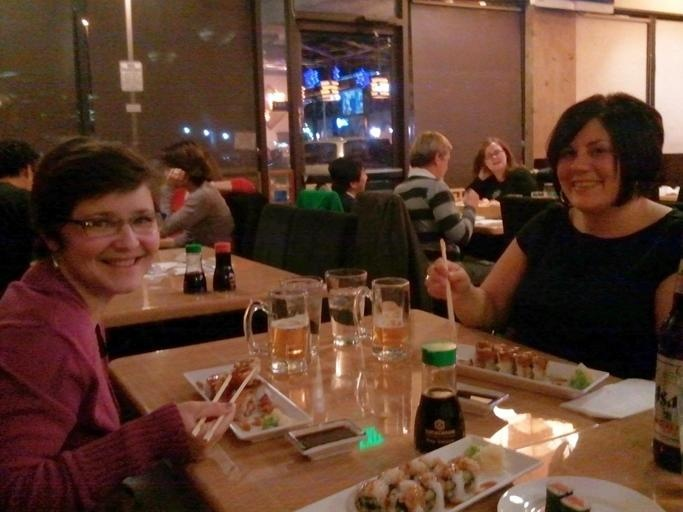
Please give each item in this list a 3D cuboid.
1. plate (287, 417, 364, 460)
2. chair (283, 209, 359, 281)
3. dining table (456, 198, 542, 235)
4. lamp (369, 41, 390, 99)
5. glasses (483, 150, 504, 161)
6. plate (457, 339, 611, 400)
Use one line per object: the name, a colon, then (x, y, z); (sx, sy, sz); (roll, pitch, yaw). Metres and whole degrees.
plate: (-0.028, 0.342, 1.048); (0.094, 0.023, 0.067); (-3, 6, -12)
chair: (-0.099, -0.057, 2.913); (0.215, 0.374, 0.384); (13, -6, -43)
dining table: (0.986, -0.246, 3.563); (0.261, 0.181, 0.436); (-6, 12, -11)
lamp: (0.473, -2.189, 6.607); (0.300, 0.644, 0.100); (-13, 18, -33)
glasses: (1.504, -0.997, 5.516); (0.110, 0.112, 0.035); (-5, 9, 21)
plate: (0.412, 0.269, 1.300); (0.240, 0.031, 0.158); (9, 15, 35)
